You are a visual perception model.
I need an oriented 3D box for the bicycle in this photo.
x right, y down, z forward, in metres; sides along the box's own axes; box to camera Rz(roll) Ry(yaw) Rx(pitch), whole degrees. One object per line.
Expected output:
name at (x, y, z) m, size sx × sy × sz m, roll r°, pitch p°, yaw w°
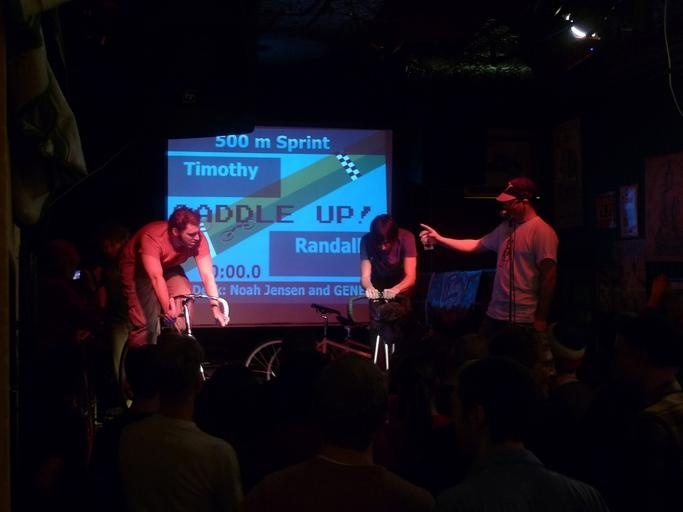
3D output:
bicycle at (-0.454, 0.864, 5.251) m, size 1.983 × 1.256 × 1.005 m, roll 0°, pitch -12°, yaw 7°

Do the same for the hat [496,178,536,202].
hat at (1.320, -0.492, 4.393) m, size 0.240 × 0.134 × 0.176 m, roll 1°, pitch 5°, yaw 13°
